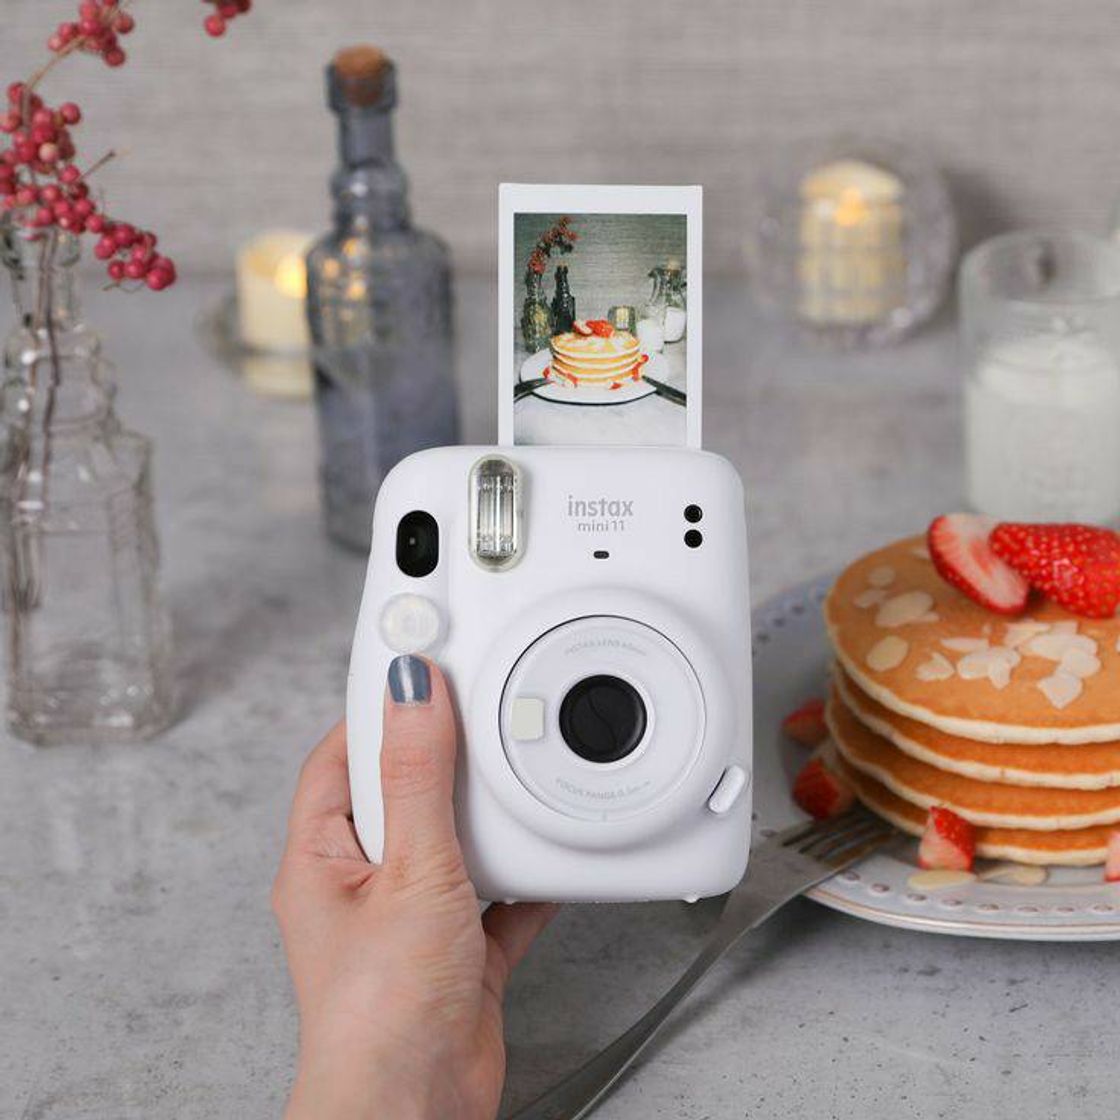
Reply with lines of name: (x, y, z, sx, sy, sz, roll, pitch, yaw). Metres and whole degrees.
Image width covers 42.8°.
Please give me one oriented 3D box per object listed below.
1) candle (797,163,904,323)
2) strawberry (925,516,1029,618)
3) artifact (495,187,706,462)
candle: (0.247, -0.264, 1.213, 0.088, 0.138, 0.025, -2, 19, 6)
strawberry: (0.278, 0.010, 1.001, 0.067, 0.019, 0.068, 2, 42, -32)
artifact: (0.025, -0.155, 0.927, 0.134, 0.170, 0.071, -2, 18, 6)
